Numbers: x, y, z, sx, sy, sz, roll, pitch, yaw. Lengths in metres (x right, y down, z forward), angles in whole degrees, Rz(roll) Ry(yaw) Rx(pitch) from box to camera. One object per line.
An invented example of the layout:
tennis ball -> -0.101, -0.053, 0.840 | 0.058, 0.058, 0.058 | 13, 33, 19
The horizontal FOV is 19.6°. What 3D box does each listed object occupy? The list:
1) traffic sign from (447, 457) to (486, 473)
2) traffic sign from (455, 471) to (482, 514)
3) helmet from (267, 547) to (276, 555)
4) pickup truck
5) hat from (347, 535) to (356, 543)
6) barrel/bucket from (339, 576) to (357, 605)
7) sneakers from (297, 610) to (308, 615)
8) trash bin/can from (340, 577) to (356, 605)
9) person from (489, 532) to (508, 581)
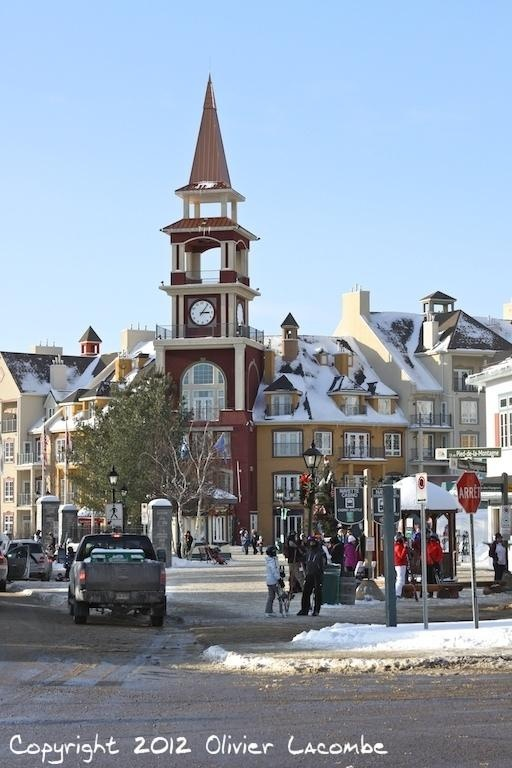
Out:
traffic sign -> 6.616, 2.620, 46.084 | 0.446, 0.605, 2.451 | -1, -6, 24
traffic sign -> 2.682, 1.415, 18.688 | 0.278, 0.559, 0.691 | -1, -10, 8
helmet -> 0.246, 2.858, 24.630 | 0.097, 0.143, 0.143 | -1, -1, 1
pickup truck -> -2.129, 3.056, 22.985 | 0.919, 1.015, 1.954 | 1, -1, -7
hat -> 2.241, 3.722, 34.659 | 0.109, 0.153, 0.178 | -3, -50, -10
barrel/bucket -> 1.729, 3.886, 27.423 | 0.358, 0.498, 0.382 | -1, -2, 0
sneakers -> 0.757, 3.851, 24.491 | 0.177, 0.103, 0.451 | 0, -11, 2
trash bin/can -> 1.701, 3.886, 27.375 | 0.343, 0.497, 0.383 | -2, -3, 24
person -> 5.435, 3.934, 33.113 | 0.368, 1.090, 1.123 | -1, -10, 10
